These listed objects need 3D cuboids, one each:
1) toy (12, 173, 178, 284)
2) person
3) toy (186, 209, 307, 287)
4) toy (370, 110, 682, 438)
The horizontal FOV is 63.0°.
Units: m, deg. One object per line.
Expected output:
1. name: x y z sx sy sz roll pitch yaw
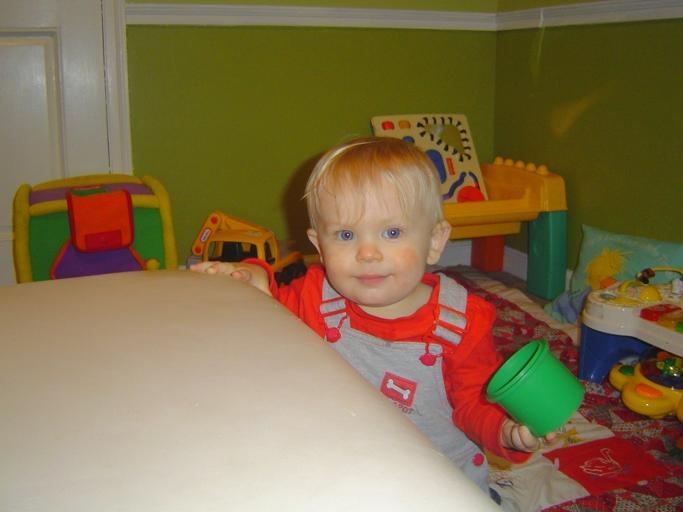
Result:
1. toy: -0.880 -0.108 1.986 0.509 0.333 0.293 -9 16 -29
2. person: 0.077 0.184 0.909 0.462 0.732 0.353 2 14 13
3. toy: -0.359 0.021 2.206 0.429 0.297 0.301 2 30 0
4. toy: 0.778 -0.127 2.430 0.953 1.301 0.877 -8 11 -37
